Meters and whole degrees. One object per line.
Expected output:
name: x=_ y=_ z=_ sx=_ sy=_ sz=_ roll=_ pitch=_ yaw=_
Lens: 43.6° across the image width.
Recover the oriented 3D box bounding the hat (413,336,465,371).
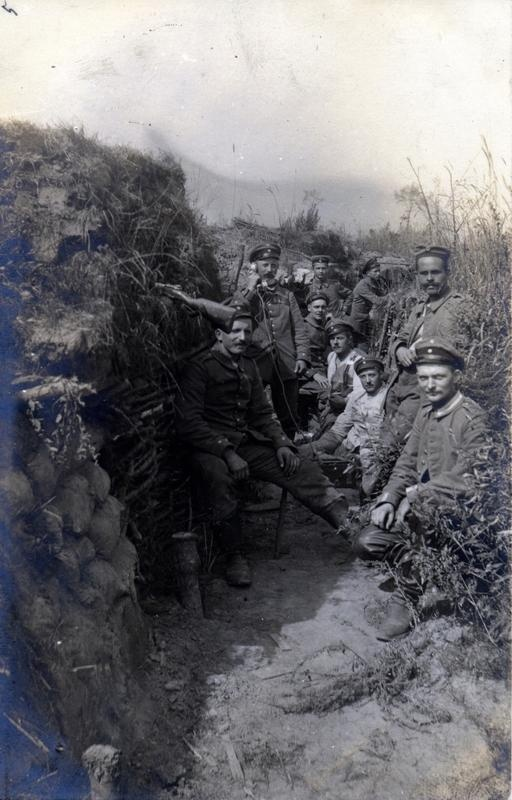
hat: x=0.899 y=-0.221 z=3.151 sx=0.248 sy=0.139 sz=0.141 roll=9 pitch=15 yaw=22

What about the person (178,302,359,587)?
person: x=0.047 y=0.202 z=3.515 sx=0.792 sy=1.356 sz=0.740 roll=16 pitch=19 yaw=41

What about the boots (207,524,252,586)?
boots: x=-0.123 y=0.808 z=3.404 sx=0.207 sy=0.269 sz=0.277 roll=2 pitch=14 yaw=-6

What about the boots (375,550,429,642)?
boots: x=0.737 y=0.916 z=3.135 sx=0.132 sy=0.163 sz=0.512 roll=14 pitch=33 yaw=21

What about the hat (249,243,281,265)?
hat: x=0.053 y=-0.793 z=3.459 sx=0.188 sy=0.105 sz=0.078 roll=-2 pitch=15 yaw=-22

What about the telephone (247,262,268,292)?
telephone: x=0.014 y=-0.686 z=3.545 sx=0.110 sy=0.149 sz=0.062 roll=-3 pitch=23 yaw=-15

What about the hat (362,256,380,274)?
hat: x=0.638 y=-0.742 z=3.522 sx=0.071 sy=0.086 sz=0.041 roll=-1 pitch=8 yaw=-17

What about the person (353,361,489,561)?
person: x=0.818 y=0.288 z=3.160 sx=0.538 sy=1.086 sz=0.293 roll=8 pitch=15 yaw=19
